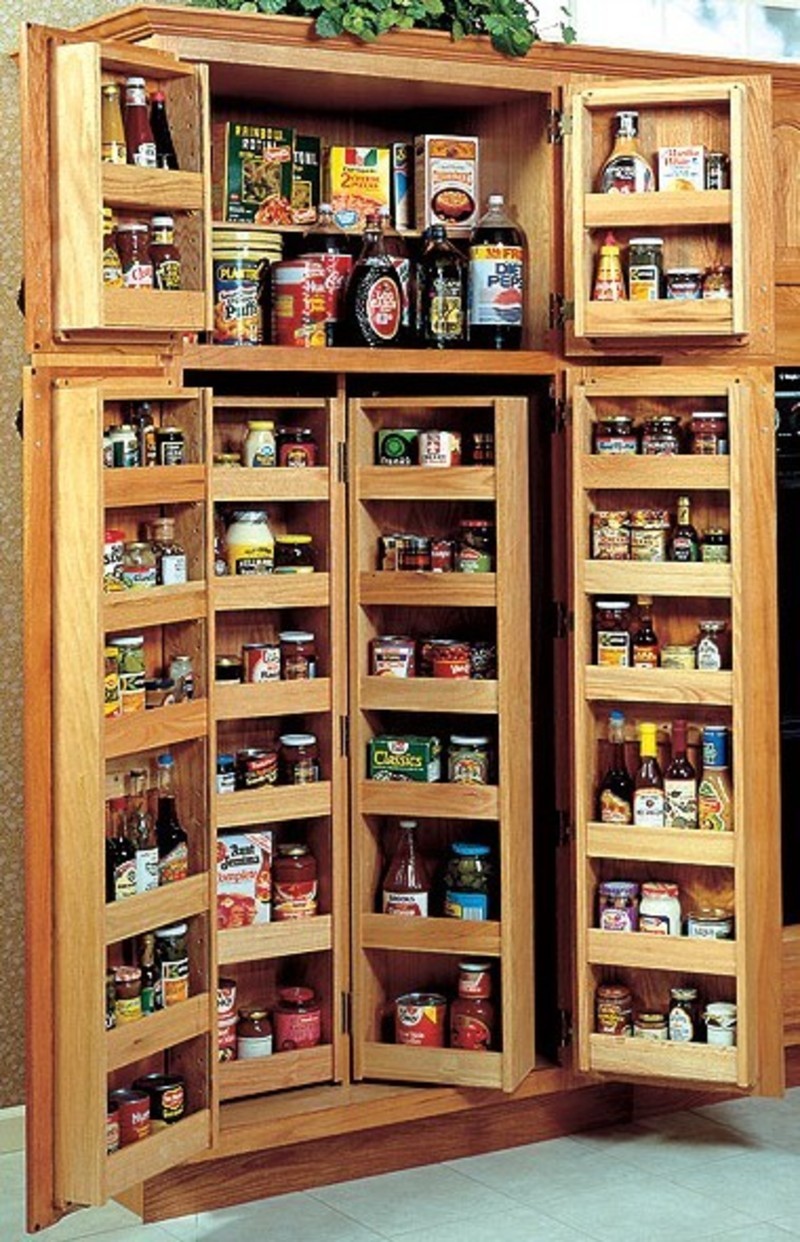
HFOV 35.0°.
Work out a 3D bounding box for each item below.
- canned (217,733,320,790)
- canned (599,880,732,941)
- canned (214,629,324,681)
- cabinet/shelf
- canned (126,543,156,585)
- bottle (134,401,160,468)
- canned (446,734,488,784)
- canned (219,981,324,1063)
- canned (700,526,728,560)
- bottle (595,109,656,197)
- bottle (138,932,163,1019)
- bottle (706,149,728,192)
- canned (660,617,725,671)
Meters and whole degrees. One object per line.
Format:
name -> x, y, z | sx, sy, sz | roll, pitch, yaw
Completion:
canned -> -0.253, 0.270, 2.463 | 0.170, 0.162, 0.094 | 1, -3, -10
canned -> 0.496, 0.567, 2.479 | 0.151, 0.073, 0.151 | 2, -2, -27
canned -> -0.255, 0.070, 2.480 | 0.120, 0.077, 0.119 | 0, -3, -25
cabinet/shelf -> -0.004, 0.004, 2.383 | 1.575, 1.630, 0.823 | -5, 2, -35
canned -> -0.413, -0.092, 2.047 | 0.039, 0.058, 0.098 | -3, 2, 16
bottle -> -0.429, -0.315, 2.119 | 0.033, 0.086, 0.078 | -3, 2, 15
canned -> 0.137, 0.279, 2.608 | 0.088, 0.095, 0.089 | 1, 1, 43
canned -> -0.275, 0.771, 2.542 | 0.212, 0.195, 0.131 | -2, 1, -13
canned -> 0.594, -0.154, 2.435 | 0.053, 0.050, 0.053 | 1, -3, 3
bottle -> 0.421, -0.888, 2.418 | 0.110, 0.178, 0.121 | -3, 2, 9
bottle -> -0.413, 0.575, 2.079 | 0.034, 0.104, 0.058 | -4, 2, -13
bottle -> 0.596, -0.860, 2.410 | 0.040, 0.082, 0.042 | -3, 2, 0
canned -> 0.573, 0.052, 2.510 | 0.134, 0.129, 0.073 | 0, 1, 17
